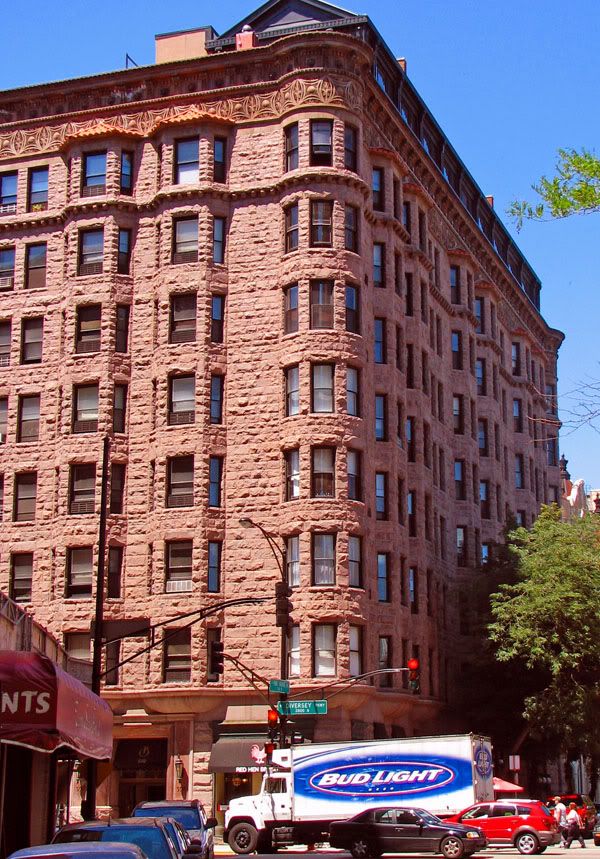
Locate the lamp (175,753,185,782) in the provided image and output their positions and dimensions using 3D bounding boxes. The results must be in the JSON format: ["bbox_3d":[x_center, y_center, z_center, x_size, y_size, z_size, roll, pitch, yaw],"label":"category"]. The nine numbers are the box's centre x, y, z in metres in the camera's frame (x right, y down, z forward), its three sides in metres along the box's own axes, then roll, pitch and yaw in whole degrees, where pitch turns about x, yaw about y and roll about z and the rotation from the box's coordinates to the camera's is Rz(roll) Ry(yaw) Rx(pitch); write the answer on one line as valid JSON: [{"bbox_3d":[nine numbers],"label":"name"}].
[{"bbox_3d":[-4.363,12.338,49.947,0.348,1.036,0.574,9,-24,-24],"label":"lamp"}]
